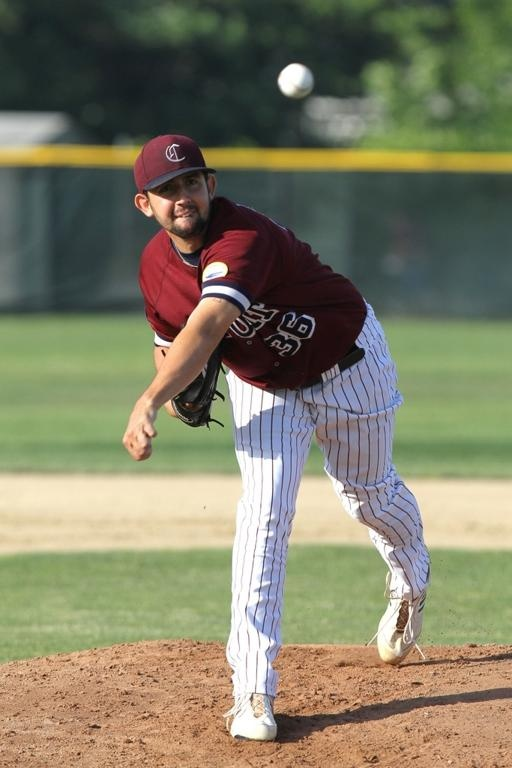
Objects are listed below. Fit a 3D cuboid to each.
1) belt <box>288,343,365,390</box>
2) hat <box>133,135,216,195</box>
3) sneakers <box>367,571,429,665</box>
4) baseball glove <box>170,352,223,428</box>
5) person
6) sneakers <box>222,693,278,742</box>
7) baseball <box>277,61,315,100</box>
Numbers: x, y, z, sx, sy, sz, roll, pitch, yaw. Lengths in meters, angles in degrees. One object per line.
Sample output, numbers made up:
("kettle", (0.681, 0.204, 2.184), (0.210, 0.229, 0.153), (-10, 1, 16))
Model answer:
("belt", (0.193, -0.067, 2.741), (0.162, 0.041, 0.111), (-27, 20, 6))
("hat", (-0.223, -0.553, 2.620), (0.150, 0.100, 0.189), (-16, 11, -20))
("sneakers", (0.451, 0.719, 3.081), (0.108, 0.275, 0.118), (20, -22, 1))
("baseball glove", (-0.168, 0.033, 2.914), (0.155, 0.208, 0.117), (3, 31, -2))
("person", (0.001, 0.106, 2.709), (0.577, 1.513, 1.074), (-2, 2, 26))
("sneakers", (-0.010, 0.788, 2.408), (0.110, 0.114, 0.075), (-3, 2, 3))
("baseball", (0.207, -1.570, 5.254), (0.163, 0.177, 0.215), (-3, 1, -7))
